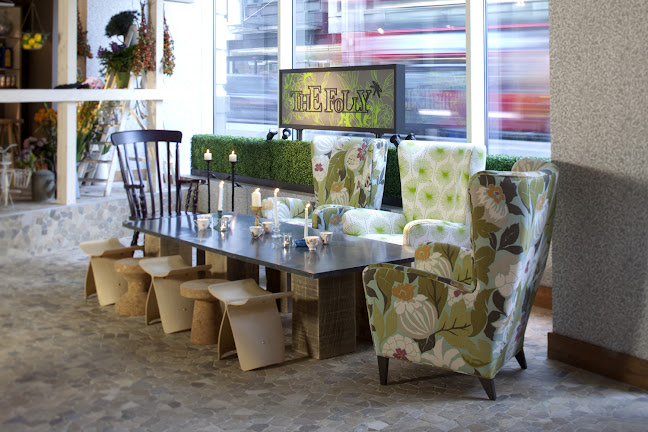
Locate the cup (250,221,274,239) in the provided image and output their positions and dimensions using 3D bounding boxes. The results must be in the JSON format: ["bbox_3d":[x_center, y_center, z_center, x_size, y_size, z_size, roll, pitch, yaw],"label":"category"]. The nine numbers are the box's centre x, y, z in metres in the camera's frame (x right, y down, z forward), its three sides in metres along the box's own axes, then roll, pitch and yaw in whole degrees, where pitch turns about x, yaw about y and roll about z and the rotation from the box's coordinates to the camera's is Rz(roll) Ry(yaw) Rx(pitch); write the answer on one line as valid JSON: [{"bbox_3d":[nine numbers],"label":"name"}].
[{"bbox_3d":[-0.550,0.129,4.420,0.197,0.088,0.131,0,2,40],"label":"cup"}]

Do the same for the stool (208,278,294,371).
[{"bbox_3d":[-0.555,0.796,3.874,0.519,0.592,0.617,-3,4,-36],"label":"stool"}]

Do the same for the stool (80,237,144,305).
[{"bbox_3d":[-2.061,0.504,4.843,0.566,0.642,0.673,-4,7,-31],"label":"stool"}]

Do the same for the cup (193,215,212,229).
[{"bbox_3d":[-1.122,0.056,4.660,0.161,0.109,0.136,2,2,-8],"label":"cup"}]

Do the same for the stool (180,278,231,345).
[{"bbox_3d":[-0.865,0.737,4.078,0.464,0.497,0.452,1,9,-7],"label":"stool"}]

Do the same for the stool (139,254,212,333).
[{"bbox_3d":[-1.292,0.576,4.427,0.559,0.652,0.692,-5,10,-34],"label":"stool"}]

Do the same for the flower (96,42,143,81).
[{"bbox_3d":[-3.258,-2.519,8.013,0.541,0.493,0.503,-12,30,-5],"label":"flower"}]

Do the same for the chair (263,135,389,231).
[{"bbox_3d":[0.209,-0.414,5.659,0.992,1.328,1.166,1,0,40],"label":"chair"}]

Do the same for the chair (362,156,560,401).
[{"bbox_3d":[1.012,0.326,3.870,1.423,1.778,1.511,3,6,32],"label":"chair"}]
